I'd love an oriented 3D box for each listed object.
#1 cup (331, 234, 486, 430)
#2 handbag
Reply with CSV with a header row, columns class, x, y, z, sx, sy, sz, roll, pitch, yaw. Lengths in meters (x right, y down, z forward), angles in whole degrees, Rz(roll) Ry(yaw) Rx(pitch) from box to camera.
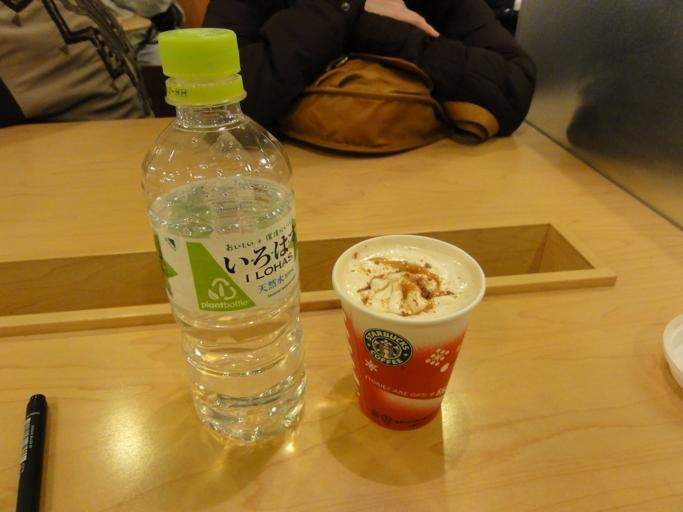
class,x,y,z,sx,sy,sz,roll,pitch,yaw
cup,0.122,0.119,1.160,0.340,0.357,0.330,-1,34,0
handbag,0.079,-0.455,1.745,0.319,0.146,0.409,-25,34,-37
